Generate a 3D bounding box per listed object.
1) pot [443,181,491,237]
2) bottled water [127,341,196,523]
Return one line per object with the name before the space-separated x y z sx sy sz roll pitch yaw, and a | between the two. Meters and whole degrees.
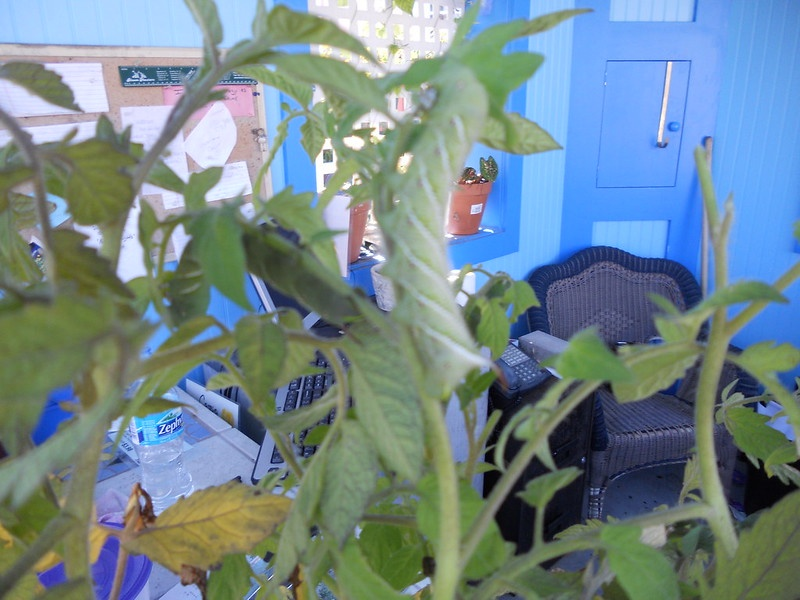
pot | 0.243 -0.394 2.170 0.242 0.227 0.249 -1 29 1
bottled water | -0.466 0.258 1.034 0.092 0.329 0.090 -9 9 -24
